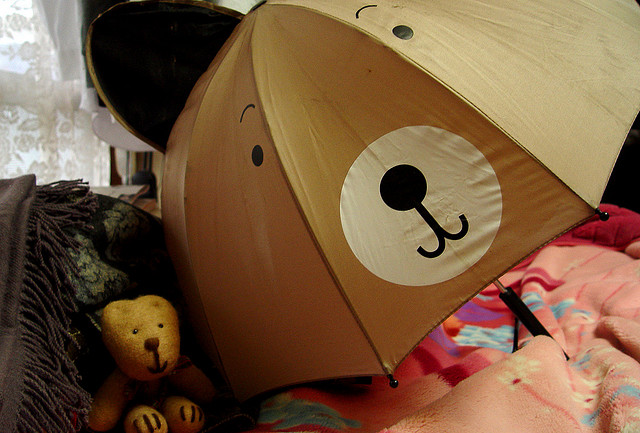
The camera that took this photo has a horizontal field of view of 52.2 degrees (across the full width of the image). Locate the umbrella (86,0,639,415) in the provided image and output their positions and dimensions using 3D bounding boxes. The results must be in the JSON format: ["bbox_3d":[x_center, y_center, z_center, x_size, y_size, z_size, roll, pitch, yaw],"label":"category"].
[{"bbox_3d":[0.249,-0.280,2.414,1.091,1.607,1.317,55,23,13],"label":"umbrella"}]

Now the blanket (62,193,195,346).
[{"bbox_3d":[-0.635,0.161,2.204,0.381,0.201,0.484,-4,60,8],"label":"blanket"}]
